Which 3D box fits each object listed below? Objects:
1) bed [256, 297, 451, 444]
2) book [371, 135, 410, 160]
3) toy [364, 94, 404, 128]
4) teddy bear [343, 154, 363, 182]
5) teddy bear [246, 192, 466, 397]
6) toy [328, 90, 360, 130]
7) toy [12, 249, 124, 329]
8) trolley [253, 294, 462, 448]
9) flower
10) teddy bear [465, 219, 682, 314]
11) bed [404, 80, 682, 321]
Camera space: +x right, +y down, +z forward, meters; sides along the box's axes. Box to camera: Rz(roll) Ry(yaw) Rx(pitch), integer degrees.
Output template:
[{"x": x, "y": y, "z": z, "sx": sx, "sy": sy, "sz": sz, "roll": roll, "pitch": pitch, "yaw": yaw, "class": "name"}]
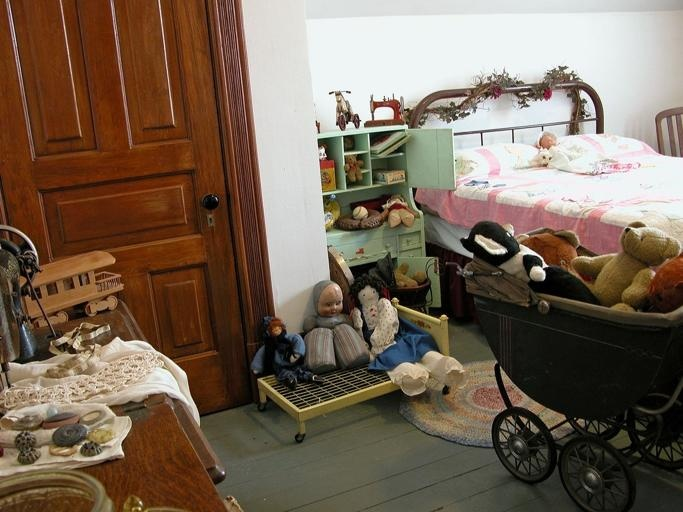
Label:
[{"x": -0.018, "y": 0.636, "z": 2.658, "sx": 0.664, "sy": 0.343, "sz": 0.376, "roll": -11, "pitch": 13, "yaw": -26, "class": "bed"}, {"x": 0.366, "y": -0.833, "z": 3.807, "sx": 0.215, "sy": 0.051, "sz": 0.216, "roll": -11, "pitch": 25, "yaw": 47, "class": "book"}, {"x": 0.325, "y": -1.155, "z": 4.063, "sx": 0.388, "sy": 0.309, "sz": 0.144, "roll": -6, "pitch": 41, "yaw": -4, "class": "toy"}, {"x": 0.079, "y": -0.657, "z": 3.771, "sx": 0.172, "sy": 0.185, "sz": 0.111, "roll": -18, "pitch": 29, "yaw": -33, "class": "teddy bear"}, {"x": 0.115, "y": 0.249, "z": 2.743, "sx": 0.669, "sy": 0.387, "sz": 0.895, "roll": -18, "pitch": 31, "yaw": -29, "class": "teddy bear"}, {"x": 0.017, "y": -1.091, "z": 3.845, "sx": 0.173, "sy": 0.291, "sz": 0.436, "roll": -3, "pitch": 14, "yaw": 12, "class": "toy"}, {"x": -1.115, "y": 0.112, "z": 2.104, "sx": 0.381, "sy": 0.215, "sz": 0.215, "roll": -19, "pitch": 36, "yaw": -25, "class": "toy"}, {"x": 0.096, "y": 0.604, "z": 2.806, "sx": 0.958, "sy": 0.506, "sz": 0.568, "roll": -12, "pitch": 24, "yaw": -28, "class": "trolley"}, {"x": 1.388, "y": -1.462, "z": 4.698, "sx": 1.638, "sy": 0.743, "sz": 0.397, "roll": -14, "pitch": 41, "yaw": -3, "class": "flower"}, {"x": 0.839, "y": 0.045, "z": 1.936, "sx": 0.560, "sy": 0.200, "sz": 0.376, "roll": 10, "pitch": 24, "yaw": 31, "class": "teddy bear"}, {"x": 1.740, "y": -0.686, "z": 4.949, "sx": 1.908, "sy": 1.318, "sz": 2.060, "roll": -17, "pitch": 24, "yaw": -35, "class": "bed"}]
